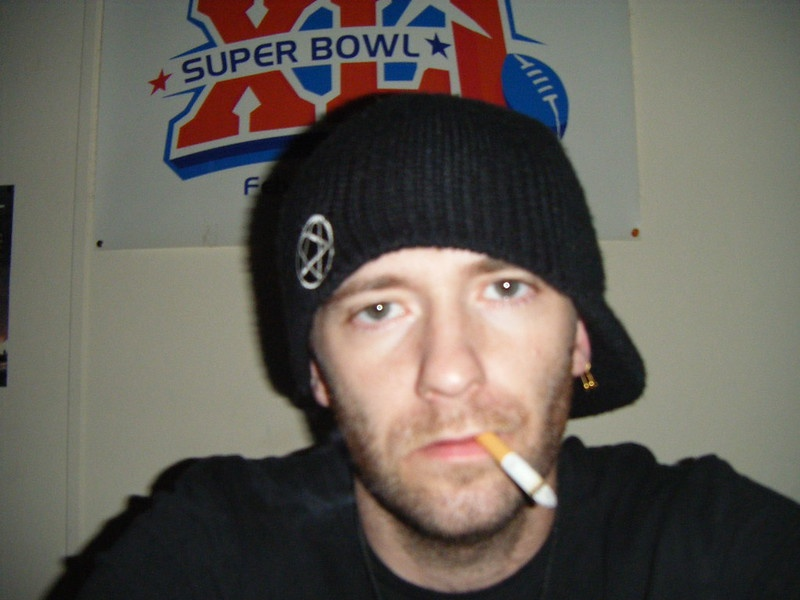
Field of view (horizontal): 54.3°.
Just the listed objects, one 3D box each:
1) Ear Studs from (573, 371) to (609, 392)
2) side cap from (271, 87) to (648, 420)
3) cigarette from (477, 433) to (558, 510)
[{"bbox_3d":[0.530,0.236,2.201,0.049,0.019,0.073,-21,-28,5],"label":"Ear Studs"},{"bbox_3d":[0.158,-0.234,2.250,0.869,0.754,0.708,3,15,10],"label":"side cap"},{"bbox_3d":[0.283,0.409,1.916,0.195,0.157,0.108,2,2,14],"label":"cigarette"}]
